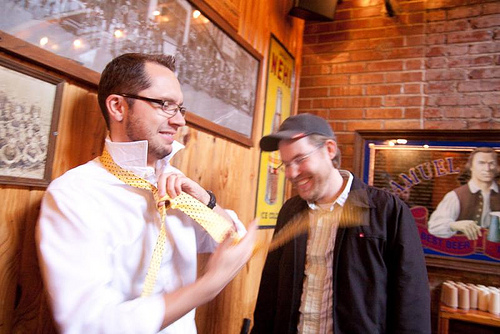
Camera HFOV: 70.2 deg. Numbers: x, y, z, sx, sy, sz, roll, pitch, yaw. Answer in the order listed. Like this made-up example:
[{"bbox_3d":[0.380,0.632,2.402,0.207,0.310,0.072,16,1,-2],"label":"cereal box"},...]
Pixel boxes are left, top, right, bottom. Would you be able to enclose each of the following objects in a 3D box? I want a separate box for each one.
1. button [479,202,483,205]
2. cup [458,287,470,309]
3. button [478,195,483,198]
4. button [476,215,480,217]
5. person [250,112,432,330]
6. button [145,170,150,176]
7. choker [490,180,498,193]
[{"bbox_3d":[1.798,0.282,2.771,0.023,0.020,0.004,3,-5,11],"label":"button"},{"bbox_3d":[1.527,0.935,2.541,0.076,0.143,0.043,2,-5,20],"label":"cup"},{"bbox_3d":[1.796,0.229,2.778,0.032,0.020,0.006,3,-5,11],"label":"button"},{"bbox_3d":[1.771,0.378,2.768,0.019,0.009,0.018,4,18,28],"label":"button"},{"bbox_3d":[0.522,0.351,2.110,0.973,1.343,0.366,2,-5,16],"label":"person"},{"bbox_3d":[-0.454,0.025,1.570,0.016,0.020,0.021,5,33,1],"label":"button"},{"bbox_3d":[1.887,0.152,2.760,0.057,0.071,0.025,-1,-8,2],"label":"choker"}]
